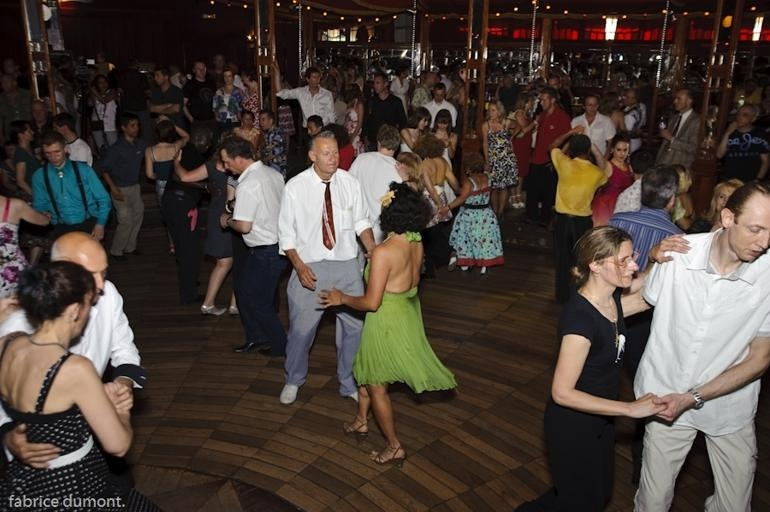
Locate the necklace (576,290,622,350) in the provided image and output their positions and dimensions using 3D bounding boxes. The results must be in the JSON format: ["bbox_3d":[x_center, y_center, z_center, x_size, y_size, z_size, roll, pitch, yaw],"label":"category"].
[{"bbox_3d":[1.056,0.322,2.363,0.152,0.238,0.269,6,17,31],"label":"necklace"}]

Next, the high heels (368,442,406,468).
[{"bbox_3d":[0.048,1.454,3.580,0.275,0.180,0.136,8,22,11],"label":"high heels"}]

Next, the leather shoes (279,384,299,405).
[{"bbox_3d":[-0.829,1.207,4.142,0.110,0.083,0.214,2,15,3],"label":"leather shoes"}]

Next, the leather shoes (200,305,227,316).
[{"bbox_3d":[-1.959,0.620,5.509,0.232,0.089,0.134,-2,7,-13],"label":"leather shoes"}]

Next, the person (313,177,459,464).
[{"bbox_3d":[0.058,0.541,3.365,0.743,2.017,0.547,-10,23,-25],"label":"person"}]

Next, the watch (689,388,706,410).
[{"bbox_3d":[1.573,0.726,2.415,0.080,0.103,0.046,-2,21,-6],"label":"watch"}]

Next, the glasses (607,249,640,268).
[{"bbox_3d":[1.189,0.009,2.366,0.126,0.037,0.121,12,30,33],"label":"glasses"}]

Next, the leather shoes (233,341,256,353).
[{"bbox_3d":[-1.400,0.934,4.890,0.255,0.093,0.092,0,10,-8],"label":"leather shoes"}]

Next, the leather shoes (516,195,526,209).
[{"bbox_3d":[2.681,-1.073,9.391,0.183,0.211,0.570,-5,3,5],"label":"leather shoes"}]

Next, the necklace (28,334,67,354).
[{"bbox_3d":[-1.391,0.359,1.968,0.165,0.062,0.053,1,20,3],"label":"necklace"}]
